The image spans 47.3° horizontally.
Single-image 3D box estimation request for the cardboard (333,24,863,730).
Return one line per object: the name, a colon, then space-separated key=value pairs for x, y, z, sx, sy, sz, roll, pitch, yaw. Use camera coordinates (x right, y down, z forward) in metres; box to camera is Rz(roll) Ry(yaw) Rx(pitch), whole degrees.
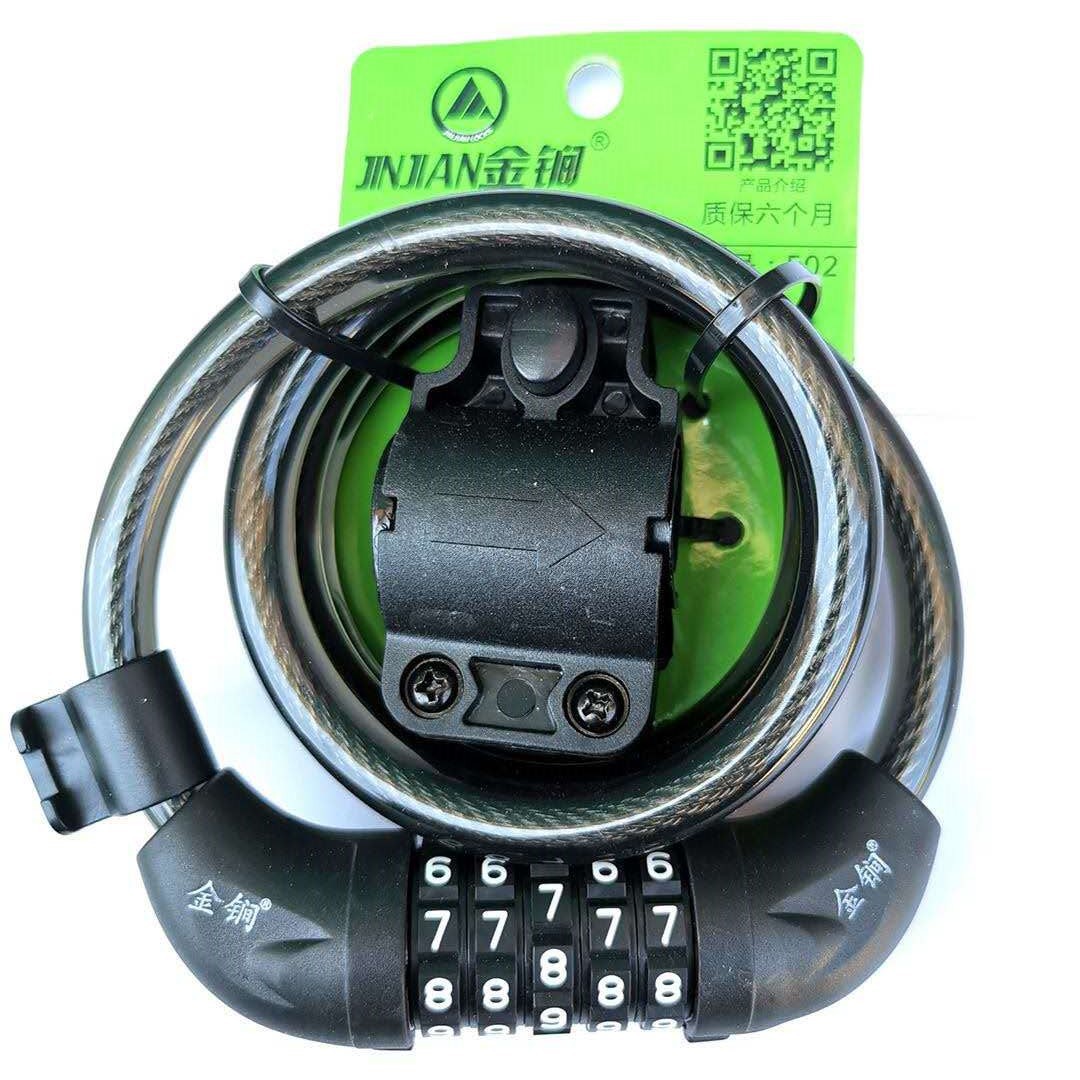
cardboard: x=0.031 y=-0.193 z=1.259 sx=0.576 sy=0.047 sz=0.912 roll=3 pitch=62 yaw=13
